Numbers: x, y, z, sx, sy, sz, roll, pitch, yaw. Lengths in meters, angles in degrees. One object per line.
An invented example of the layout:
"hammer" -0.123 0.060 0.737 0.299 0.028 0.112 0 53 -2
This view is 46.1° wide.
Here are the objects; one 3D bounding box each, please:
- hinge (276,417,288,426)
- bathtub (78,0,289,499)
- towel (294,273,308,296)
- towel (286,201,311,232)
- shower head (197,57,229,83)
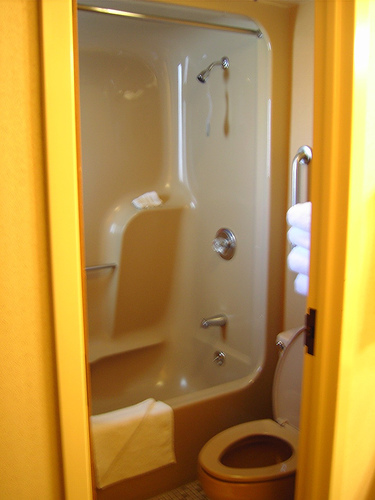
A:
"hinge" 0.361 0.659 1.706 0.026 0.031 0.009 -1 -10 41
"bathtub" -0.092 -0.114 2.024 0.753 1.894 0.859 -11 15 -35
"towel" 0.410 0.125 1.604 0.038 0.108 0.145 0 14 10
"towel" 0.390 -0.116 1.502 0.057 0.094 0.131 -7 14 -18
"shower head" 0.112 -0.823 2.010 0.062 0.086 0.214 -8 15 -22
